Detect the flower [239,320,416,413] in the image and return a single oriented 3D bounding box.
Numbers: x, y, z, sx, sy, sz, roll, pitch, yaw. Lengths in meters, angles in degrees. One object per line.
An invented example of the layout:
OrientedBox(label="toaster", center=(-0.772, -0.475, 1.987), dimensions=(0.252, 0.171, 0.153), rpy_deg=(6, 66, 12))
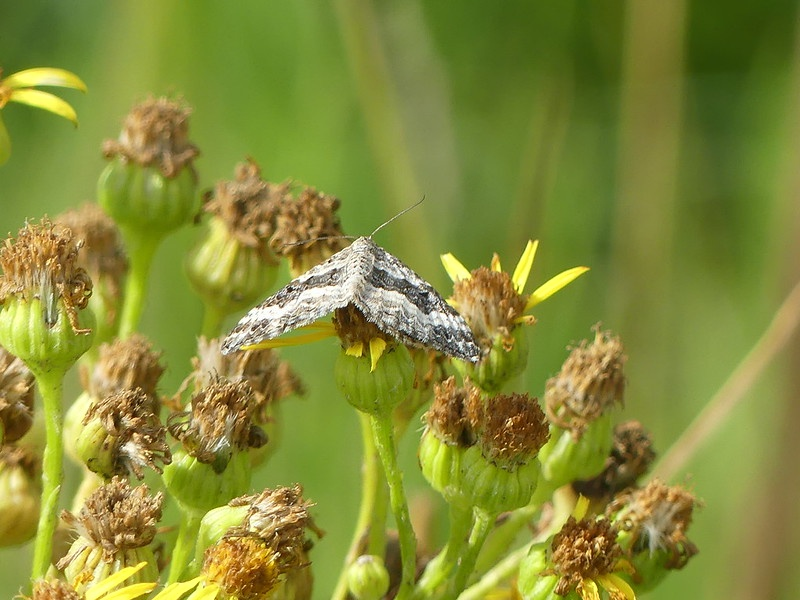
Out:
OrientedBox(label="flower", center=(-0.028, 0.061, 0.966), dimensions=(0.083, 0.100, 0.047), rpy_deg=(-2, -67, 13))

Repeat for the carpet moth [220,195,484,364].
OrientedBox(label="carpet moth", center=(-0.024, -0.018, 0.926), dimensions=(0.182, 0.093, 0.147), rpy_deg=(-6, -22, -7))

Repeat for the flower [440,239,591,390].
OrientedBox(label="flower", center=(0.082, 0.035, 1.104), dimensions=(0.164, 0.130, 0.188), rpy_deg=(-8, 9, 0))
